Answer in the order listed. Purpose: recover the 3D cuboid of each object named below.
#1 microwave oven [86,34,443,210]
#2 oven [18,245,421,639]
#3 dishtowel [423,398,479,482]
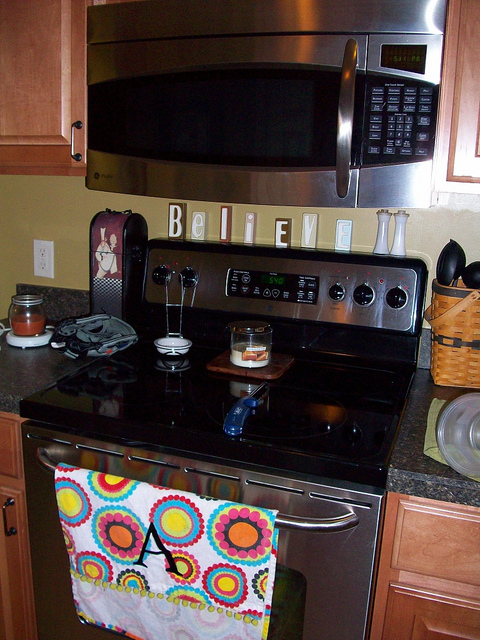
[{"bbox_3d":[0.049,-0.478,1.275,0.788,0.385,0.406,7,12,14],"label":"microwave oven"},{"bbox_3d":[-0.039,0.301,1.186,0.750,0.854,0.593,7,14,20],"label":"oven"},{"bbox_3d":[0.373,0.211,0.949,0.095,0.009,0.158,9,19,30],"label":"dishtowel"}]
